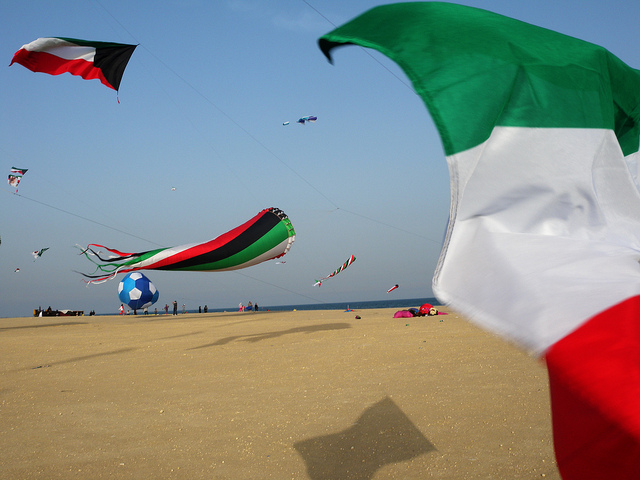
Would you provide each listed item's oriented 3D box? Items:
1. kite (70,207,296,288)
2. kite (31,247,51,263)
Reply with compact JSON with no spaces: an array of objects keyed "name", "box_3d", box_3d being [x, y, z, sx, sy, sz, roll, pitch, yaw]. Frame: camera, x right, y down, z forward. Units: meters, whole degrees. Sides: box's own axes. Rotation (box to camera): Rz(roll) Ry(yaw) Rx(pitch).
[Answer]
[{"name":"kite","box_3d":[-1.832,0.154,8.472,2.828,0.822,0.772,-12,30,-16]},{"name":"kite","box_3d":[-6.740,0.309,11.581,0.169,0.322,0.313,19,33,-23]}]
